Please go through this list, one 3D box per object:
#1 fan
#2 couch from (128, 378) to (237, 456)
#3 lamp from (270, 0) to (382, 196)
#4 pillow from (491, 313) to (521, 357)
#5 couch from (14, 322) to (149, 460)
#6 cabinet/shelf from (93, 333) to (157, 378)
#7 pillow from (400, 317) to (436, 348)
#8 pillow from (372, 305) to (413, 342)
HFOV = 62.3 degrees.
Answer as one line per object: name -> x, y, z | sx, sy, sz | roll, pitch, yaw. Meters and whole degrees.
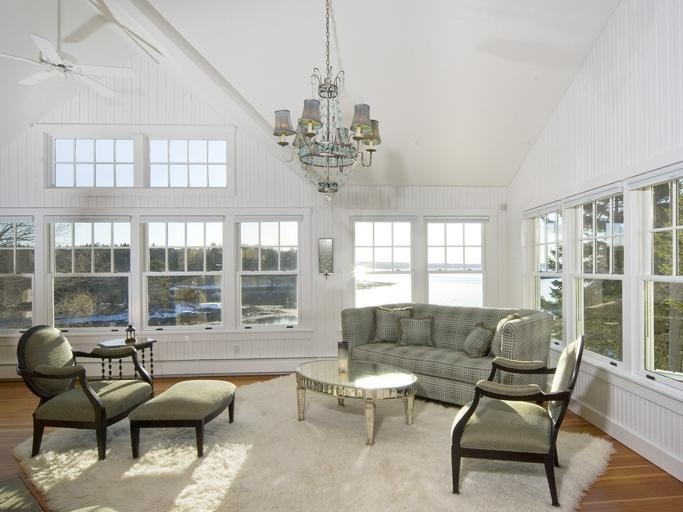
fan -> -3.199, -2.400, 6.462 | 0.773, 0.796, 0.825 | -25, -28, 16
couch -> -1.614, 1.615, 5.949 | 0.856, 0.505, 1.273 | -1, 1, 10
lamp -> -0.127, -1.640, 6.144 | 1.110, 1.652, 2.270 | -1, -1, -1
pillow -> 1.809, 0.888, 6.427 | 0.177, 0.420, 0.435 | 8, 4, 23
couch -> -2.473, 1.224, 6.047 | 1.261, 1.335, 1.480 | 0, -2, 1
cabinet/shelf -> -2.780, 1.303, 7.380 | 0.691, 0.515, 0.701 | 2, 6, 10
pillow -> 0.941, 0.964, 7.180 | 0.389, 0.337, 0.114 | 0, -14, 5
pillow -> 0.662, 0.889, 7.348 | 0.451, 0.444, 0.174 | 0, -34, 9
